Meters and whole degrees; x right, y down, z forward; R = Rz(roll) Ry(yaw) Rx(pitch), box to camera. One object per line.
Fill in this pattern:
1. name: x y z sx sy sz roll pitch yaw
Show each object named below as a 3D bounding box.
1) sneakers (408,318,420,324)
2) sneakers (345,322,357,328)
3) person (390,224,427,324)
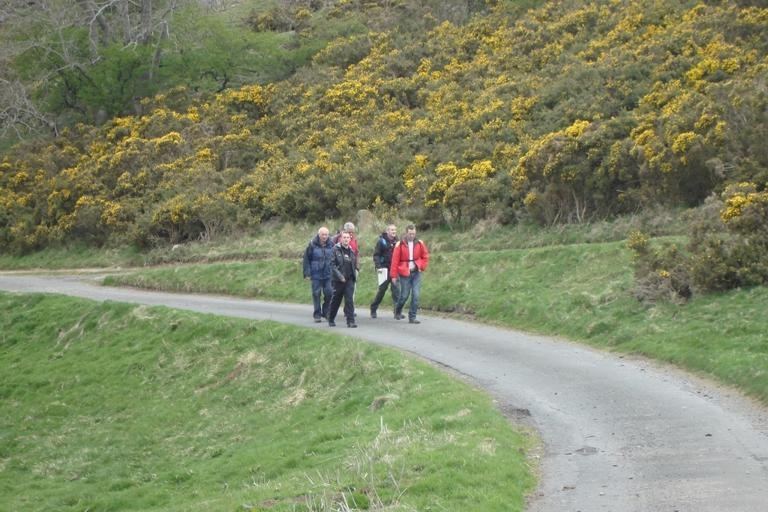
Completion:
1. sneakers: 1.329 2.684 44.745 0.397 0.185 0.171 0 2 18
2. sneakers: -1.249 2.795 44.494 0.176 0.221 0.409 1 -5 -33
3. person: 1.094 0.693 44.697 1.417 4.101 0.853 2 5 6
